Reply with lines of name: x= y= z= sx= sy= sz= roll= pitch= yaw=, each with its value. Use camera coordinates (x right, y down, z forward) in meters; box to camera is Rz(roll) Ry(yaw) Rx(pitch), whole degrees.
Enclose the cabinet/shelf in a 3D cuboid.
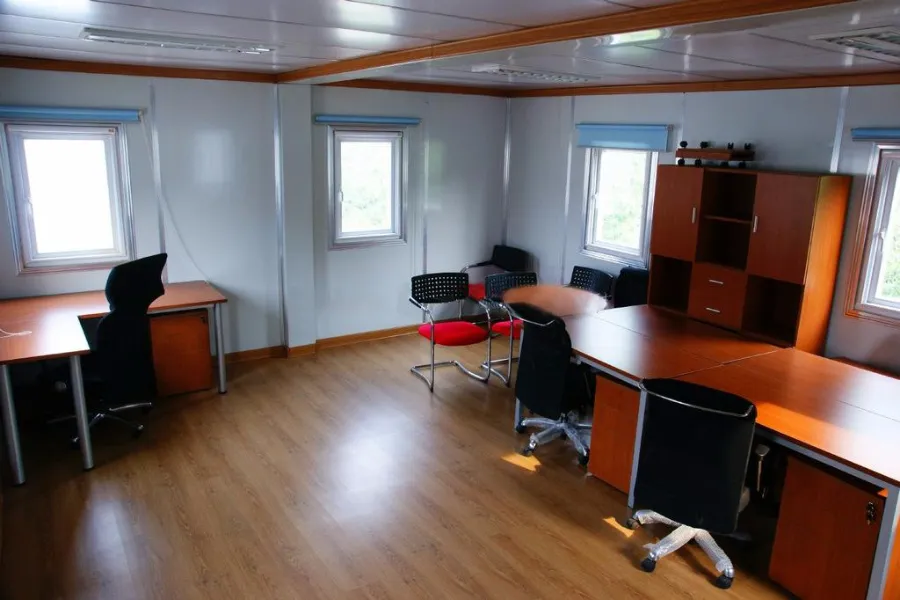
cabinet/shelf: x=2.877 y=-0.365 z=5.552 sx=0.531 sy=1.488 sz=1.601 roll=-5 pitch=15 yaw=-24
